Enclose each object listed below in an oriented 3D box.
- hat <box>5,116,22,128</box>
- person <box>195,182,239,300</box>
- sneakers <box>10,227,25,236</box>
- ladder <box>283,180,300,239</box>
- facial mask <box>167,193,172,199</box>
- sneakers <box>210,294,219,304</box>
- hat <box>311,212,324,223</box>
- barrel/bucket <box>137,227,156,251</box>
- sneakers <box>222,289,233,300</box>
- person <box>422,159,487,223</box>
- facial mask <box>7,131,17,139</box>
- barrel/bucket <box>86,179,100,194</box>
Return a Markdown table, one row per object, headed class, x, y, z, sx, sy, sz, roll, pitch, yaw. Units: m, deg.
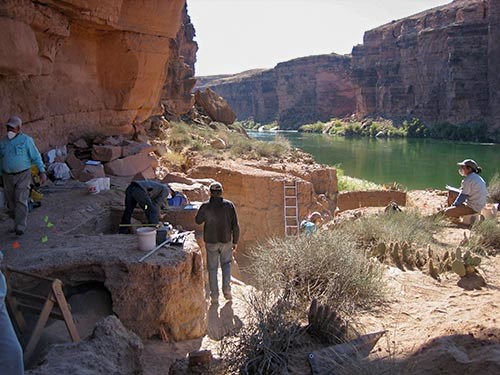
| class | x | y | z | sx | sy | sz | roll | pitch | yaw |
| --- | --- | --- | --- | --- | --- | --- | --- | --- | --- |
| hat | -3.793 | -1.036 | 6.528 | 0.177 | 0.178 | 0.304 | -3 | 9 | -26 |
| person | -0.544 | 0.922 | 6.689 | 0.696 | 1.958 | 0.200 | 0 | 8 | -7 |
| sneakers | -3.675 | 0.669 | 6.404 | 0.140 | 0.105 | 0.432 | -7 | 11 | -43 |
| ladder | 1.227 | 0.598 | 12.150 | 0.506 | 1.534 | 0.576 | 1 | 8 | 1 |
| facial mask | -1.527 | 0.165 | 7.681 | 0.066 | 0.089 | 0.081 | -10 | 7 | 21 |
| sneakers | -0.588 | 1.840 | 6.788 | 0.134 | 0.156 | 0.136 | 0 | 0 | -35 |
| hat | 1.789 | 0.815 | 10.965 | 0.301 | 0.175 | 0.317 | -9 | 9 | -10 |
| barrel/bucket | -1.357 | 0.671 | 5.335 | 0.234 | 0.302 | 0.230 | 1 | 8 | 0 |
| sneakers | -0.384 | 1.774 | 6.807 | 0.107 | 0.194 | 0.179 | -4 | 26 | -6 |
| person | 4.718 | 0.109 | 8.954 | 0.831 | 1.385 | 0.615 | 5 | 9 | 29 |
| facial mask | -3.788 | -0.826 | 6.441 | 0.088 | 0.076 | 0.107 | 2 | 2 | -11 |
| barrel/bucket | -3.226 | -0.010 | 8.401 | 0.264 | 0.277 | 0.276 | 1 | 8 | 0 |
